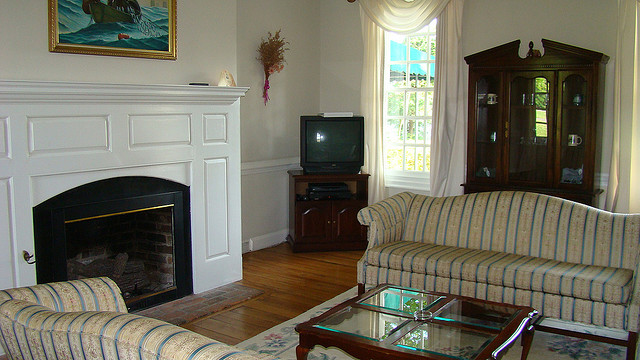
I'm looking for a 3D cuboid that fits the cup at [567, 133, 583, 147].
[{"bbox_3d":[3.109,-0.501,5.329,0.111,0.145,0.182,-4,7,-32],"label":"cup"}]

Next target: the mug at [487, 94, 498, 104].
[{"bbox_3d":[2.247,-1.066,5.624,0.127,0.082,0.097,2,4,20],"label":"mug"}]

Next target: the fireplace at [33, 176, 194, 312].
[{"bbox_3d":[-2.076,0.600,4.303,0.460,1.242,1.461,6,9,42],"label":"fireplace"}]

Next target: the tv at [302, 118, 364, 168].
[{"bbox_3d":[0.339,-0.567,6.652,1.118,0.831,0.600,2,7,31],"label":"tv"}]

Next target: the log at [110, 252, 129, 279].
[{"bbox_3d":[-2.188,0.927,4.690,0.139,0.241,0.060,12,-18,-7],"label":"log"}]

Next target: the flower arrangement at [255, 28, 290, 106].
[{"bbox_3d":[-0.673,-1.683,6.390,0.250,1.101,0.501,9,17,33],"label":"flower arrangement"}]
